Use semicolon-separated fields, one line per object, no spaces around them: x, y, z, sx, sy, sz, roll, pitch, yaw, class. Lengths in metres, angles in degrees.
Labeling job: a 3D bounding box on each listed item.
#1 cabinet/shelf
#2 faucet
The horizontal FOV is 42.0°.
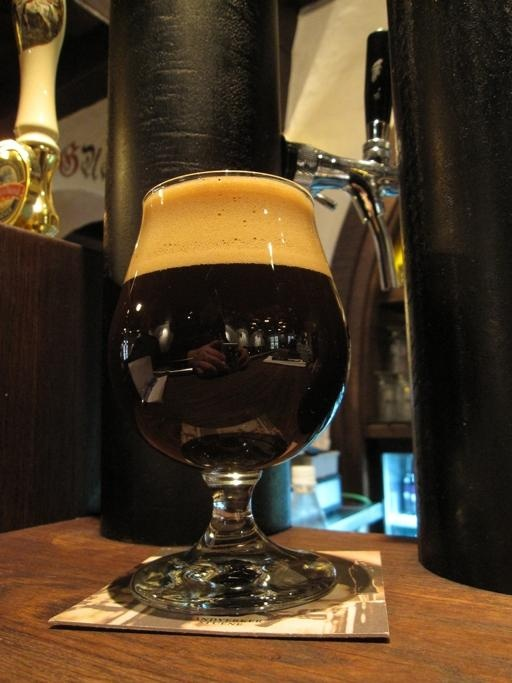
0.440;0.147;2.512;0.317;0.296;1.164;-6;97;-32;cabinet/shelf
0.088;-0.182;0.655;0.130;0.044;0.232;2;98;-2;faucet
